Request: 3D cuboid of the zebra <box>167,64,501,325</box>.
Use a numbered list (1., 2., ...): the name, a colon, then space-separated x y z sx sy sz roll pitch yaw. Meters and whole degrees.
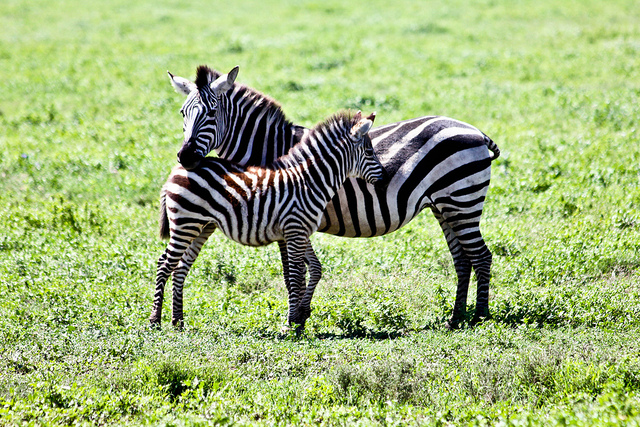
1. zebra: 0.490 -0.177 17.943 6.935 5.256 1.998 1 9 -6
